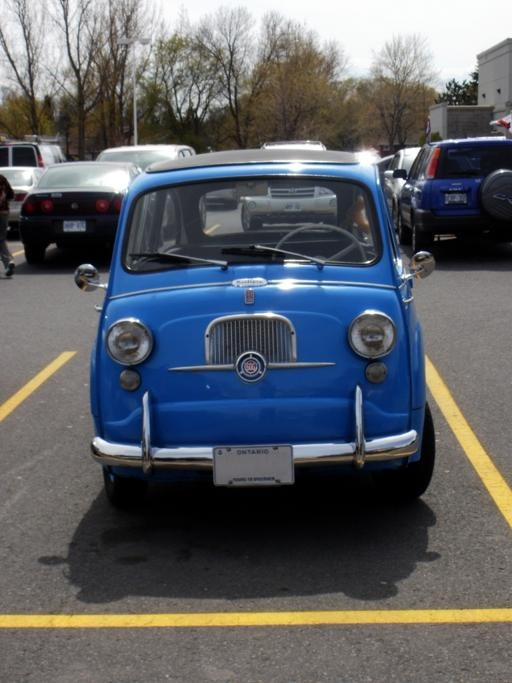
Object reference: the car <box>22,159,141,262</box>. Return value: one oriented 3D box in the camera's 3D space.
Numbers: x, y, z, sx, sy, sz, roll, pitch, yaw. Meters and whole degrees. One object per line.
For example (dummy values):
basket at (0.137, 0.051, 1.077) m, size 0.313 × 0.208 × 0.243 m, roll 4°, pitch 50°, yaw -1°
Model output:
car at (-3.614, -2.683, 14.156) m, size 2.015 × 1.686 × 3.891 m, roll 2°, pitch 9°, yaw -4°

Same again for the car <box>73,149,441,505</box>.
car at (0.076, -0.389, 3.969) m, size 1.600 × 1.538 × 2.983 m, roll -1°, pitch 18°, yaw 4°
